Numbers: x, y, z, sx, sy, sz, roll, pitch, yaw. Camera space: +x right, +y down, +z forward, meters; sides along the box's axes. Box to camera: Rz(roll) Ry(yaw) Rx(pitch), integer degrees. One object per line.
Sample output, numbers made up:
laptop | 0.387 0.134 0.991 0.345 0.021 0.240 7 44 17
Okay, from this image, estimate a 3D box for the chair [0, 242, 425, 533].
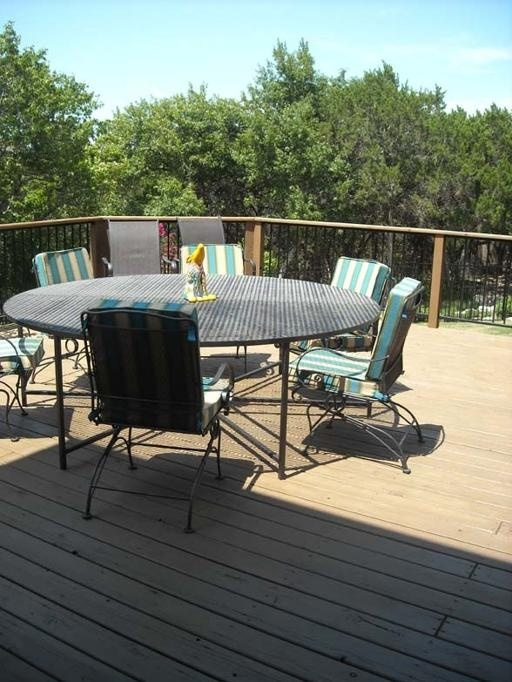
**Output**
chair | -0.136 0.063 2.858 1.966 1.043 2.068 4 9 19
